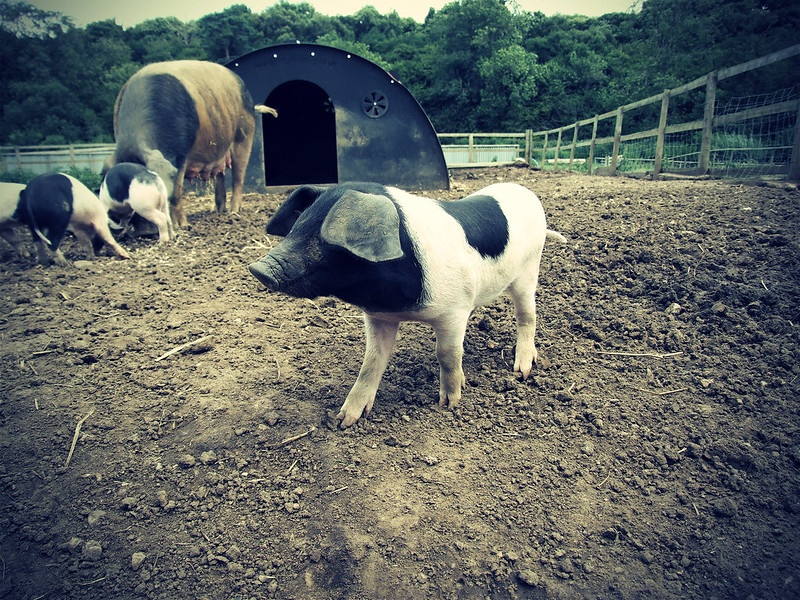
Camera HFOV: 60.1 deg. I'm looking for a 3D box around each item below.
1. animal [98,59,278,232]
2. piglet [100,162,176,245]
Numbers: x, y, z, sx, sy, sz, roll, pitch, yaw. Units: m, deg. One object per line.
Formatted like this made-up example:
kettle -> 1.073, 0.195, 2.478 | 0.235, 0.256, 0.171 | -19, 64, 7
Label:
animal -> -2.548, -1.933, 8.521 | 1.538, 1.894, 3.936 | -2, 14, -11
piglet -> -2.920, -1.079, 7.714 | 1.045, 0.730, 0.324 | 29, 39, 25
